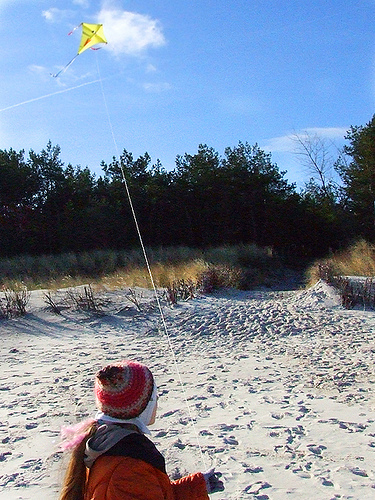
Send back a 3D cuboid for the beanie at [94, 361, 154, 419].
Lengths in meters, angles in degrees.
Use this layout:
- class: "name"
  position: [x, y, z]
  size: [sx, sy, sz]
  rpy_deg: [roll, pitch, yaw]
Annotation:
- class: "beanie"
  position: [-0.276, 0.608, 2.031]
  size: [0.246, 0.157, 0.224]
  rpy_deg: [-1, 48, 17]
